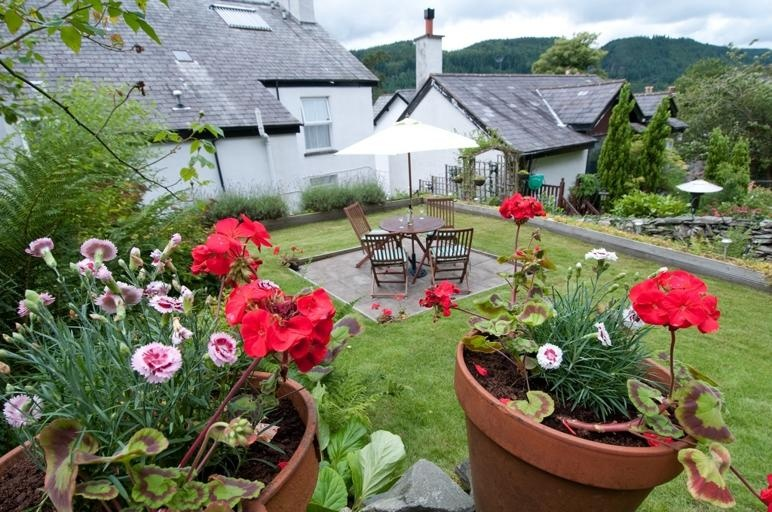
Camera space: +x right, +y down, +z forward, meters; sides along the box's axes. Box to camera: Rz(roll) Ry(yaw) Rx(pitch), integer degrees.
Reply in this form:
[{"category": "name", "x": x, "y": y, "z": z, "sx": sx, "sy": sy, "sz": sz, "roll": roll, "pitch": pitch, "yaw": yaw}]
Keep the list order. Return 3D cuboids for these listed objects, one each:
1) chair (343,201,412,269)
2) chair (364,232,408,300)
[{"category": "chair", "x": -0.108, "y": -0.373, "z": 7.862, "sx": 0.933, "sy": 1.226, "sz": 0.718, "roll": 0, "pitch": 24, "yaw": 4}, {"category": "chair", "x": 0.012, "y": 0.104, "z": 7.010, "sx": 0.599, "sy": 1.032, "sz": 0.952, "roll": 0, "pitch": 36, "yaw": 4}]
